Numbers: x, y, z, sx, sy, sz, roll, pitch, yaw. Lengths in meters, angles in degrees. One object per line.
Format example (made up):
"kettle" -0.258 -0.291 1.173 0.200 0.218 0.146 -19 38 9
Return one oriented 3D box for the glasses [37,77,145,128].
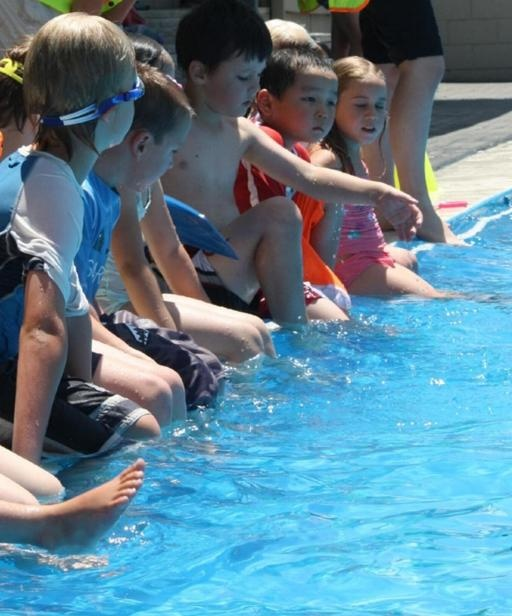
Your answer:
"glasses" -0.342 -0.448 1.433 0.169 0.033 0.116 -21 21 -13
